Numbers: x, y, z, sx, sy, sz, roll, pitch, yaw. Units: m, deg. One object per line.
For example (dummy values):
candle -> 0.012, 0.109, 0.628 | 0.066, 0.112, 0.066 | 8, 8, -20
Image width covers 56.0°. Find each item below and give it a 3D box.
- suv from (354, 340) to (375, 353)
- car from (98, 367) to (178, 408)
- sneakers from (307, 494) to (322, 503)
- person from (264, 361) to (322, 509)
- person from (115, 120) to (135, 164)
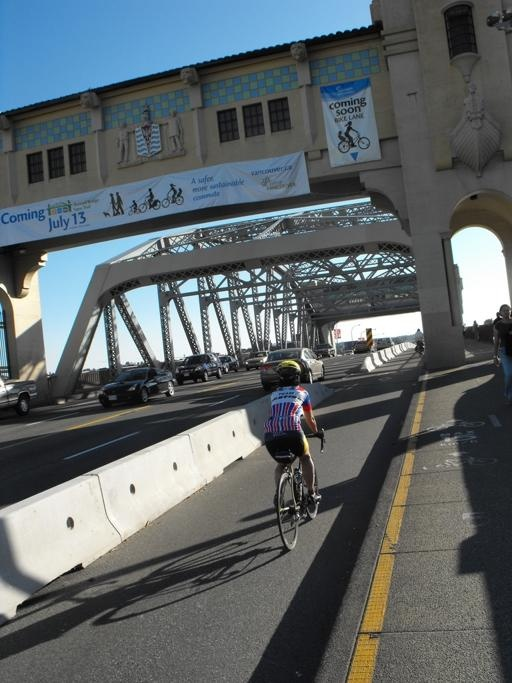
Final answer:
suv -> 16.038, 0.979, 72.968 | 1.972, 1.660, 4.402 | -2, -5, 7
car -> -6.050, 2.345, 25.408 | 2.184, 1.829, 4.484 | -8, -4, 22
sneakers -> 0.606, 1.672, 5.145 | 0.086, 0.113, 0.250 | -3, -15, 12
person -> 0.342, 0.966, 4.770 | 0.519, 1.099, 0.961 | -6, -3, 5
person -> -7.138, -10.598, 25.945 | 0.922, 2.388, 0.231 | -7, -3, 16
